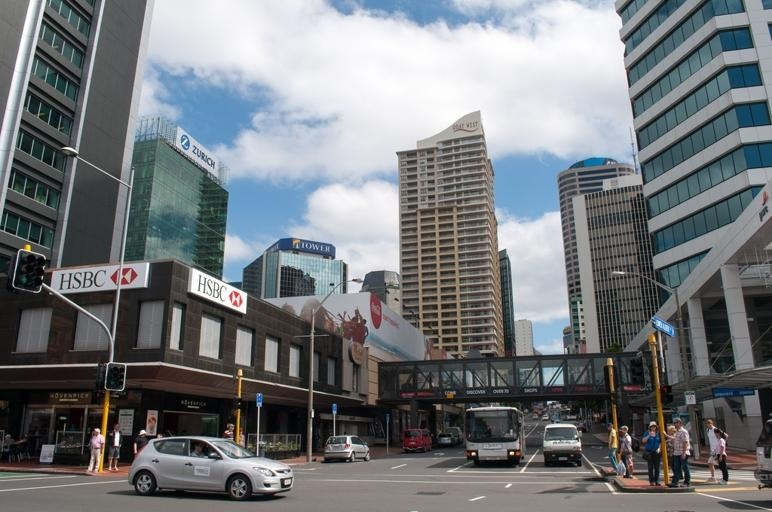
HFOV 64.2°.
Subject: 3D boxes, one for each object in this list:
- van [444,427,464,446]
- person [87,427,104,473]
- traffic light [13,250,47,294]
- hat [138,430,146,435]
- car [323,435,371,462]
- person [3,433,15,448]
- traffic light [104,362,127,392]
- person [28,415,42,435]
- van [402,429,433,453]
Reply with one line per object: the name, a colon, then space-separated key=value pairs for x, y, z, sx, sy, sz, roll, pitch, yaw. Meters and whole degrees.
van: x=7.973 y=21.308 z=72.795 sx=1.950 sy=1.782 sz=3.684 roll=-4 pitch=-19 yaw=11
person: x=-17.395 y=11.785 z=37.213 sx=0.743 sy=2.514 sz=1.093 roll=7 pitch=-23 yaw=-24
traffic light: x=-17.643 y=0.624 z=30.618 sx=0.933 sy=1.977 sz=1.340 roll=-21 pitch=-28 yaw=39
hat: x=-15.804 y=11.524 z=40.179 sx=0.538 sy=0.223 sz=0.508 roll=1 pitch=-6 yaw=-23
car: x=-3.042 y=15.218 z=48.632 sx=1.884 sy=2.037 sz=3.436 roll=-18 pitch=-26 yaw=33
person: x=-25.170 y=12.524 z=41.481 sx=0.721 sy=1.015 sz=0.334 roll=5 pitch=2 yaw=18
traffic light: x=-15.852 y=7.054 z=36.207 sx=1.052 sy=1.544 sz=0.695 roll=-2 pitch=-21 yaw=-2
person: x=-25.316 y=12.264 z=44.735 sx=0.813 sy=1.132 sz=0.276 roll=16 pitch=-11 yaw=2
van: x=3.317 y=18.350 z=61.169 sx=1.680 sy=2.332 sz=2.892 roll=-21 pitch=-28 yaw=39
